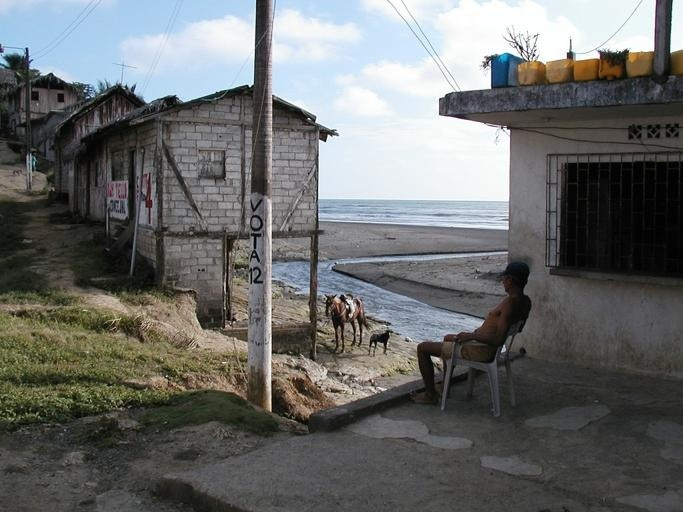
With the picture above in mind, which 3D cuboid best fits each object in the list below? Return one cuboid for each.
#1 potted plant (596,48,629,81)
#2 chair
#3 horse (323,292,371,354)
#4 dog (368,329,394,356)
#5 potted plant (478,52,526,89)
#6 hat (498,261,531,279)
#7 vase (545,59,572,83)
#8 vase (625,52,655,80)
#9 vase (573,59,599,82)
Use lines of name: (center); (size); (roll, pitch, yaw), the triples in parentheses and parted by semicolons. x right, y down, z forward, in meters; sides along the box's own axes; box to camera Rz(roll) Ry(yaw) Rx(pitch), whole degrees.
potted plant: (3.647, -2.562, 7.830); (0.364, 0.387, 0.162); (4, 11, 25)
chair: (1.935, 1.369, 7.432); (1.085, 1.603, 1.124); (1, 1, 30)
horse: (0.183, 1.943, 17.790); (0.632, 1.682, 2.393); (4, 3, 33)
dog: (1.079, 2.385, 17.057); (0.584, 0.797, 1.428); (-1, 10, 2)
potted plant: (2.447, -2.751, 8.707); (0.504, 0.532, 0.605); (2, 11, 18)
hat: (2.080, 0.144, 7.057); (0.294, 0.176, 0.220); (13, 9, 41)
vase: (3.051, -2.588, 8.185); (0.369, 0.340, 0.316); (3, 11, 20)
vase: (3.911, -2.510, 7.658); (0.324, 0.334, 0.254); (4, 11, 27)
vase: (3.341, -2.533, 7.973); (0.329, 0.295, 0.210); (3, 11, 23)
